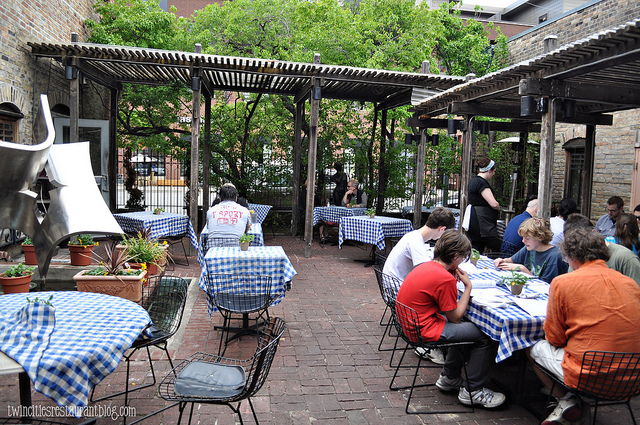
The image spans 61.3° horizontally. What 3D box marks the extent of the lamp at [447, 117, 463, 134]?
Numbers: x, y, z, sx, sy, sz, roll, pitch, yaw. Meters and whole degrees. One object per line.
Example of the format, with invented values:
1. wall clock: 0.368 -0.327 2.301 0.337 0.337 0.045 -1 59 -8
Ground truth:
1. lamp: 2.773 -1.787 11.114 0.365 0.281 0.203 2 -1 -1

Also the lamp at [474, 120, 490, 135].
1. lamp: 3.292 -1.768 11.213 0.399 0.281 0.411 5 4 40

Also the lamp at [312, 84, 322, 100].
1. lamp: -0.097 -2.550 11.443 0.174 0.343 0.153 1 7 7

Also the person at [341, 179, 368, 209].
1. person: 0.881 -0.475 13.274 0.667 1.210 0.712 1 2 0

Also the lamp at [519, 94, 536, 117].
1. lamp: 3.257 -1.683 8.456 0.201 0.299 0.232 3 8 22

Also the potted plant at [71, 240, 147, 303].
1. potted plant: -3.084 0.982 7.999 0.855 0.658 0.853 1 2 -14

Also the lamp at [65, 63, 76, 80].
1. lamp: -5.012 -2.818 10.863 0.155 0.297 0.132 2 8 16

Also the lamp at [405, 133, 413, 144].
1. lamp: 2.112 -1.759 12.801 0.188 0.242 0.642 1 7 9

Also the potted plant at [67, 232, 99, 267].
1. potted plant: -3.879 0.601 8.667 0.381 0.473 0.380 17 -7 -15

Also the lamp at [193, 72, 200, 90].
1. lamp: -2.525 -2.624 10.994 0.194 0.279 0.109 -5 9 -35

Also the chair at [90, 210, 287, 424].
1. chair: -1.599 1.274 6.558 0.896 1.370 2.045 12 -6 -38

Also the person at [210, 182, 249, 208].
1. person: -1.707 -0.232 10.347 0.716 0.356 0.725 0 -3 0
